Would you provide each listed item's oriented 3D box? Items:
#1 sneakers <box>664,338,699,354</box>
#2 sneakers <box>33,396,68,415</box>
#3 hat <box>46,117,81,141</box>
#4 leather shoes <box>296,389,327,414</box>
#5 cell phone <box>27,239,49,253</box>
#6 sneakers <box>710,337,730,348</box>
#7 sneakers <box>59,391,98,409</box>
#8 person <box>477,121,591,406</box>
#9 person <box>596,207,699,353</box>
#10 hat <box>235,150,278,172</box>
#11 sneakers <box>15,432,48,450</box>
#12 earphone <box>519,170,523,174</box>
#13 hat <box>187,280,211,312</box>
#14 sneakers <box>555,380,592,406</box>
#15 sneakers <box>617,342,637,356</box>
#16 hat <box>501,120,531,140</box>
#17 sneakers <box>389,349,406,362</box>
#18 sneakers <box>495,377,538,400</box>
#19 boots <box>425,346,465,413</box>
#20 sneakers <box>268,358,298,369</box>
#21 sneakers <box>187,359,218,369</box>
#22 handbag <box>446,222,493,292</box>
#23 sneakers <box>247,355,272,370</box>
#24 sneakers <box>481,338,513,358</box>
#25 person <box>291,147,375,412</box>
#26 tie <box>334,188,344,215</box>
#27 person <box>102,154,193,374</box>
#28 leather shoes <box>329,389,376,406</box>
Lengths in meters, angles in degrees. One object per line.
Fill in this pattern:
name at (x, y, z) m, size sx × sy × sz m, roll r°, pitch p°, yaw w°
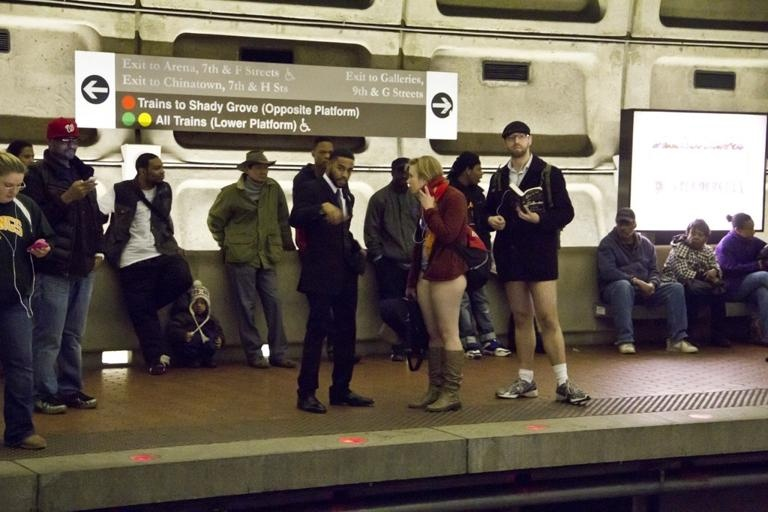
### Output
sneakers at (3.765, 1.139, 10.166) m, size 0.397 × 0.154 × 0.146 m, roll -1°, pitch 1°, yaw 34°
sneakers at (-3.009, 1.344, 7.261) m, size 0.315 × 0.140 × 0.126 m, roll -1°, pitch 0°, yaw 28°
hat at (-2.936, -1.148, 7.284) m, size 0.263 × 0.157 × 0.201 m, roll 0°, pitch 3°, yaw 38°
leather shoes at (-0.667, 1.329, 7.298) m, size 0.142 × 0.113 × 0.278 m, roll 2°, pitch -4°, yaw -42°
cell phone at (-2.800, -0.079, 6.489) m, size 0.113 × 0.052 × 0.111 m, roll -7°, pitch -4°, yaw -1°
sneakers at (4.392, 1.105, 10.483) m, size 0.264 × 0.123 × 0.232 m, roll 1°, pitch 5°, yaw 33°
sneakers at (-2.798, 1.330, 7.406) m, size 0.355 × 0.136 × 0.128 m, roll 1°, pitch -3°, yaw 3°
person at (1.394, 0.053, 7.578) m, size 0.856 × 2.629 × 0.404 m, roll -1°, pitch 4°, yaw 12°
person at (3.336, 0.287, 10.394) m, size 1.105 × 1.794 × 0.940 m, roll -1°, pitch 4°, yaw 11°
hat at (-1.501, -1.128, 9.415) m, size 0.357 × 0.229 × 0.459 m, roll -4°, pitch 5°, yaw -31°
sneakers at (-2.747, 1.443, 6.288) m, size 0.239 × 0.103 × 0.099 m, roll -2°, pitch 2°, yaw -10°
earphone at (1.302, -0.800, 7.625) m, size 0.020 × 0.023 × 0.026 m, roll -3°, pitch 0°, yaw 6°
hat at (-2.168, 0.441, 9.204) m, size 0.248 × 0.356 × 0.266 m, roll 6°, pitch 6°, yaw 24°
sneakers at (1.754, 1.272, 7.515) m, size 0.337 × 0.168 × 0.170 m, roll 0°, pitch 3°, yaw 38°
sneakers at (3.037, 1.144, 9.997) m, size 0.191 × 0.122 × 0.175 m, roll -1°, pitch 4°, yaw 13°
hat at (1.257, -1.197, 7.624) m, size 0.198 × 0.100 × 0.264 m, roll -6°, pitch 3°, yaw 8°
sneakers at (0.166, 1.193, 9.709) m, size 0.185 × 0.129 × 0.128 m, roll 1°, pitch -11°, yaw 6°
sneakers at (1.306, 1.300, 7.833) m, size 0.451 × 0.194 × 0.169 m, roll 1°, pitch -3°, yaw -8°
boots at (0.551, 1.122, 7.285) m, size 0.251 × 0.533 × 0.294 m, roll 0°, pitch 5°, yaw 27°
sneakers at (-1.158, 1.224, 9.185) m, size 0.339 × 0.131 × 0.115 m, roll -2°, pitch -4°, yaw 16°
sneakers at (-2.073, 1.212, 9.136) m, size 0.298 × 0.120 × 0.106 m, roll 0°, pitch 1°, yaw -3°
handbag at (0.724, -0.055, 7.471) m, size 0.399 × 0.661 × 0.474 m, roll -17°, pitch 15°, yaw -11°
sneakers at (-1.423, 1.174, 9.171) m, size 0.261 × 0.170 × 0.255 m, roll -2°, pitch 4°, yaw -12°
sneakers at (1.403, 1.149, 10.040) m, size 0.394 × 0.165 × 0.170 m, roll -1°, pitch -2°, yaw 43°
person at (-0.486, 0.214, 7.421) m, size 0.729 × 2.389 × 0.550 m, roll -3°, pitch 4°, yaw -16°
tie at (-0.401, -0.540, 7.500) m, size 0.066 × 0.174 × 0.130 m, roll -2°, pitch 6°, yaw 11°
person at (-2.606, 0.022, 8.871) m, size 0.884 × 2.308 × 0.433 m, roll -3°, pitch 4°, yaw -19°
leather shoes at (-0.316, 1.340, 7.601) m, size 0.465 × 0.166 × 0.152 m, roll -2°, pitch -3°, yaw 3°
